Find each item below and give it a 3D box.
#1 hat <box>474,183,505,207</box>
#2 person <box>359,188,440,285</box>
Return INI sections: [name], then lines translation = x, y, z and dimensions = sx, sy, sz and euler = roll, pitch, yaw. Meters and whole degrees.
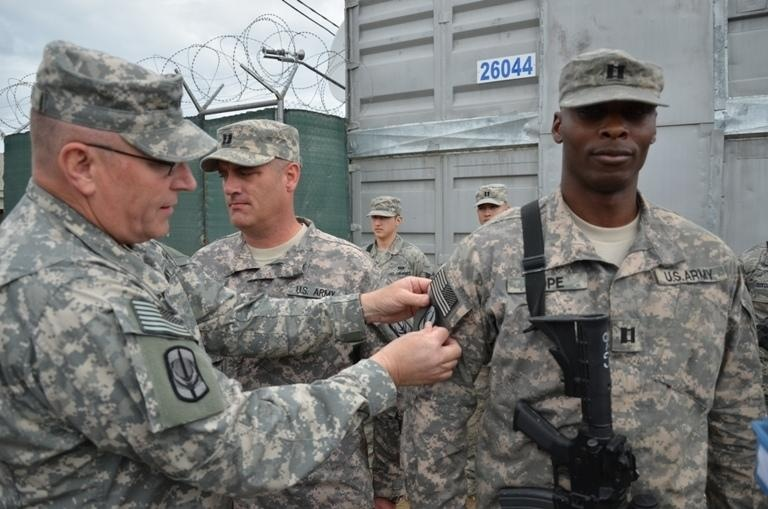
[hat]
translation = 0.972, -0.525, 7.445
dimensions = 0.181, 0.124, 0.246
euler = -4, -3, 34
[person]
translation = 0.192, -0.179, 7.739
dimensions = 0.910, 0.855, 0.510
euler = -2, 4, 37
